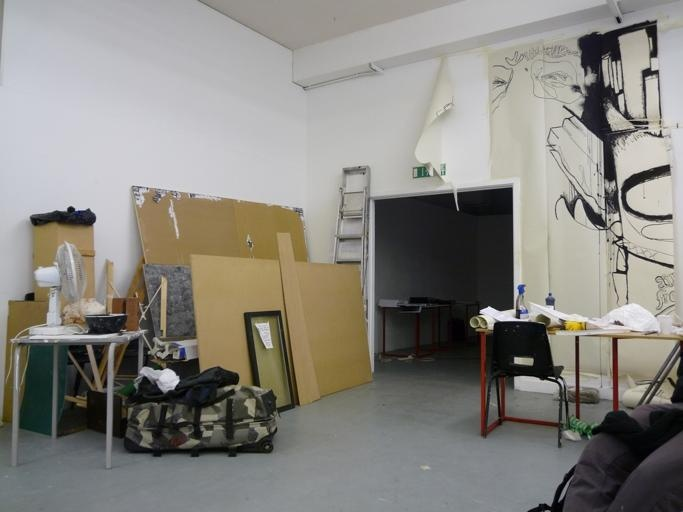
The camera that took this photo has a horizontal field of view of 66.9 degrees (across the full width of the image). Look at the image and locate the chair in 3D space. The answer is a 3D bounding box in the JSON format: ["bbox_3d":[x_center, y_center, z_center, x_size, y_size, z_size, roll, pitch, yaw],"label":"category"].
[{"bbox_3d":[1.758,1.160,4.884,0.704,1.120,0.663,0,-1,31],"label":"chair"}]

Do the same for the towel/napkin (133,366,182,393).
[{"bbox_3d":[-1.630,1.084,4.603,0.242,0.120,0.259,7,0,9],"label":"towel/napkin"}]

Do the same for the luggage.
[{"bbox_3d":[-1.194,1.314,4.486,0.886,0.436,0.658,-1,-5,0],"label":"luggage"}]

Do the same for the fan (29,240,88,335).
[{"bbox_3d":[-2.483,0.272,4.470,0.400,0.776,0.593,-2,3,-42],"label":"fan"}]
